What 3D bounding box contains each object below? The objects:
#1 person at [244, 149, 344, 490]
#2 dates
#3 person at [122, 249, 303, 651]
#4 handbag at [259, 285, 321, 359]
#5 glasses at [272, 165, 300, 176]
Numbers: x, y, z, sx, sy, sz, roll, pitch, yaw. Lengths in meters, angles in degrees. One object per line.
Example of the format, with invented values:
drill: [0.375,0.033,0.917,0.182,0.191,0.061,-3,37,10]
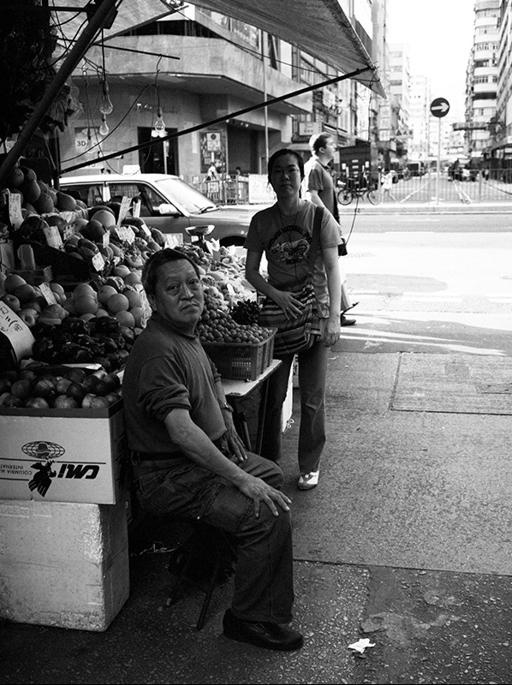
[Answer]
person: [0.253,-0.122,3.409,0.512,2.021,0.481,2,11,20]
dates: [-0.121,-0.153,3.009,0.283,0.243,0.352,4,16,7]
person: [-0.119,0.408,2.148,0.614,1.454,0.543,0,2,11]
handbag: [0.217,-0.144,3.403,0.321,0.425,0.352,6,12,22]
glasses: [0.179,-0.953,3.162,0.156,0.042,0.111,0,9,-1]
